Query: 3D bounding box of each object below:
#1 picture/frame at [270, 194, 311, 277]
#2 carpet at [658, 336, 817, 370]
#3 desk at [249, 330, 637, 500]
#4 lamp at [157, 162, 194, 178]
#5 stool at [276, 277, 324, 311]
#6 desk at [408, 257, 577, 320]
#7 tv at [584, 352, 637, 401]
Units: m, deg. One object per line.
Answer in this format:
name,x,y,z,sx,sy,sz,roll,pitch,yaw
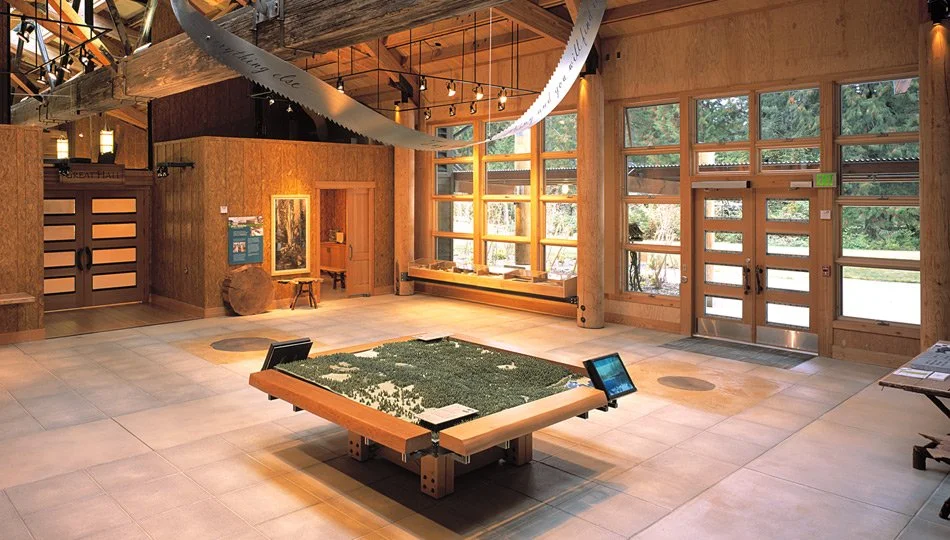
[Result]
picture/frame,-4.665,-0.876,13.978,1.078,1.972,0.410,-5,13,-25
carpet,5.081,1.530,10.631,2.346,0.035,1.170,7,13,34
desk,-0.235,1.490,6.838,2.904,0.921,2.829,-4,7,-42
lamp,-7.360,-2.465,13.490,0.950,0.349,0.549,-1,5,-34
stool,-4.419,0.586,14.054,0.950,0.523,0.930,1,-2,-32
desk,0.209,0.358,14.337,4.577,0.759,0.602,7,11,31
tv,1.767,1.275,6.832,0.254,0.566,0.626,-20,-14,-27
